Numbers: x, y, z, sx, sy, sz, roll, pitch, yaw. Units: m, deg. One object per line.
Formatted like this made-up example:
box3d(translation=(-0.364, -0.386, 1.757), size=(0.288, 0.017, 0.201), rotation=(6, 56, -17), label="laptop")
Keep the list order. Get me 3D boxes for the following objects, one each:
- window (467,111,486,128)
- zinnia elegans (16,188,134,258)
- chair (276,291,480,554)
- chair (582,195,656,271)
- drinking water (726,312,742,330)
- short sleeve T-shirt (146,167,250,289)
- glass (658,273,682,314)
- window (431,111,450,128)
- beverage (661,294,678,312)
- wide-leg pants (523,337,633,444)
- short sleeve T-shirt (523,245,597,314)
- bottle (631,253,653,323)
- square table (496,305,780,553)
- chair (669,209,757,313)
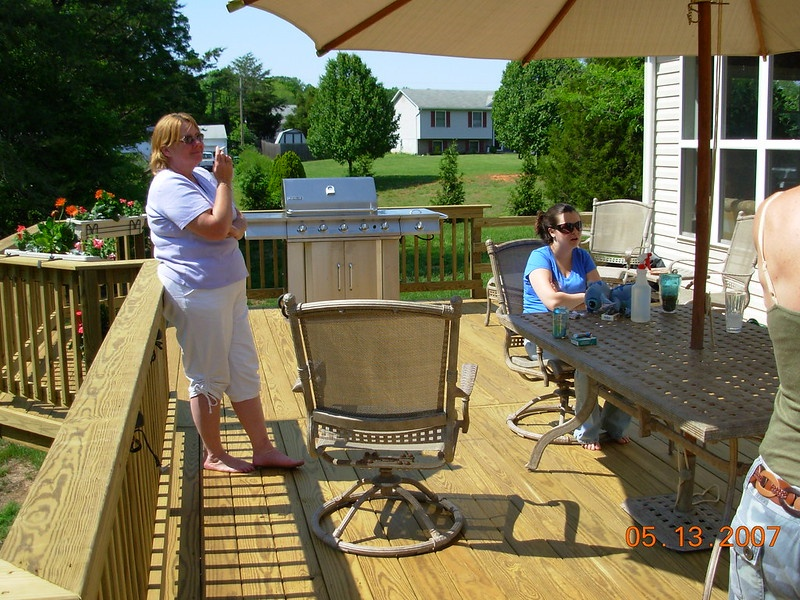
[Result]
box3d(translation=(7.824, -18.253, 62.900), size=(1.570, 1.257, 1.582), rotation=(0, 5, 3), label="window")
box3d(translation=(-2.760, -0.593, 5.459), size=(0.829, 0.374, 1.172), rotation=(4, 6, 0), label="zinnia elegans")
box3d(translation=(-0.100, 0.558, 3.200), size=(1.045, 1.285, 1.046), rotation=(-4, 10, -29), label="chair")
box3d(translation=(2.443, -0.755, 7.371), size=(0.722, 1.191, 0.769), rotation=(2, 7, 12), label="chair")
box3d(translation=(1.805, 0.115, 3.374), size=(0.082, 0.103, 0.090), rotation=(1, -6, 3), label="drinking water")
box3d(translation=(-1.037, -0.336, 3.483), size=(0.516, 0.693, 0.713), rotation=(-2, 11, -3), label="short sleeve T-shirt")
box3d(translation=(1.635, -0.047, 3.760), size=(0.115, 0.196, 0.126), rotation=(-4, -8, 16), label="glass")
box3d(translation=(3.997, -18.263, 63.185), size=(1.683, 1.506, 0.235), rotation=(0, -2, -12), label="window")
box3d(translation=(1.617, 0.019, 3.745), size=(0.093, 0.105, 0.097), rotation=(-1, 4, -9), label="beverage")
box3d(translation=(1.124, 0.594, 4.026), size=(0.631, 0.737, 0.648), rotation=(4, 13, 25), label="wide-leg pants")
box3d(translation=(1.030, -0.120, 4.010), size=(0.409, 0.405, 0.231), rotation=(-1, 8, -10), label="short sleeve T-shirt")
box3d(translation=(1.399, -0.074, 3.592), size=(0.125, 0.405, 0.141), rotation=(-5, 9, -23), label="bottle")
box3d(translation=(1.178, 0.646, 3.079), size=(0.583, 0.500, 0.976), rotation=(-6, 19, -13), label="square table")
box3d(translation=(2.981, -0.235, 5.931), size=(0.634, 1.054, 0.729), rotation=(11, -3, -16), label="chair")
